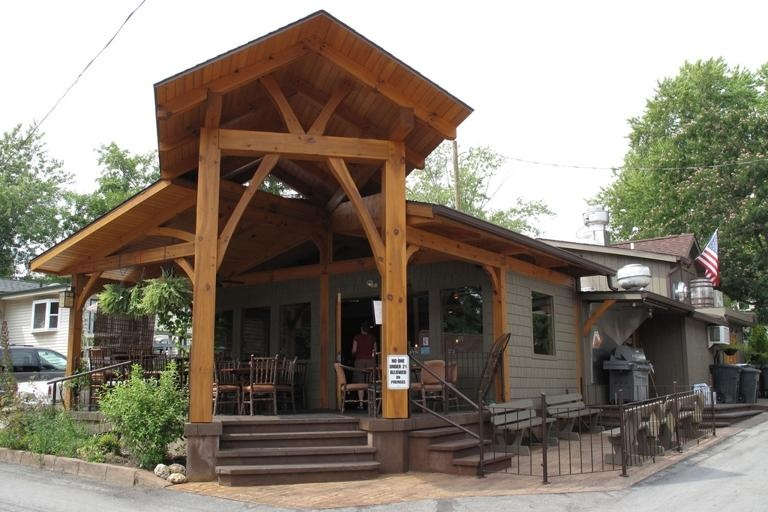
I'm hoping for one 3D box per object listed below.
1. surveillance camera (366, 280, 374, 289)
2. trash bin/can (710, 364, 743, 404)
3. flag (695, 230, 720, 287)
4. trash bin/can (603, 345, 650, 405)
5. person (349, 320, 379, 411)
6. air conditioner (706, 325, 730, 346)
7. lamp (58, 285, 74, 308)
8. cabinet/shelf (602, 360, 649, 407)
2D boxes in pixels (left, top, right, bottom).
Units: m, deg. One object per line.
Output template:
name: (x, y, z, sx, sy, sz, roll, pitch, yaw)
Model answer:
surveillance camera: (-0.309, 0.664, 16.254, 0.260, 0.195, 0.119, -4, -13, 8)
trash bin/can: (10.190, 3.760, 19.771, 0.760, 1.107, 0.452, -9, -14, 26)
flag: (11.882, 0.063, 24.345, 0.750, 2.231, 2.447, -8, -14, 25)
trash bin/can: (6.380, 3.172, 17.586, 0.938, 1.469, 1.220, -12, -17, 41)
person: (-0.467, 2.437, 15.040, 0.622, 1.776, 0.594, 4, -9, -26)
air conditioner: (10.915, 2.586, 21.775, 0.578, 0.759, 1.087, -4, -11, 39)
lamp: (-7.581, 0.977, 15.921, 0.285, 0.515, 0.332, 7, -16, -35)
cabinet/shelf: (6.321, 3.294, 17.312, 1.094, 1.078, 0.779, 9, -14, -42)
